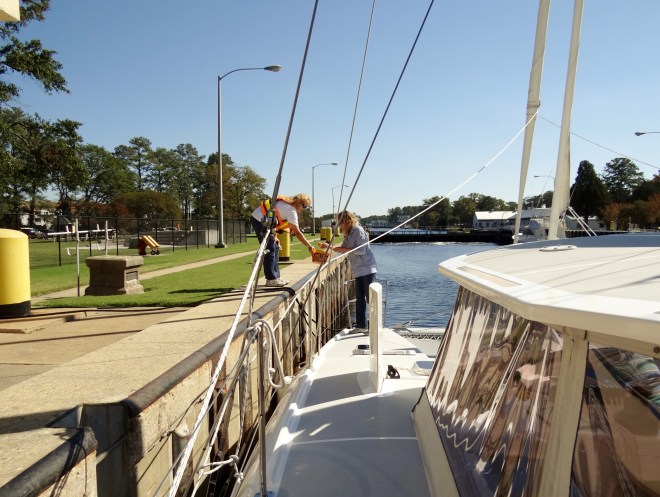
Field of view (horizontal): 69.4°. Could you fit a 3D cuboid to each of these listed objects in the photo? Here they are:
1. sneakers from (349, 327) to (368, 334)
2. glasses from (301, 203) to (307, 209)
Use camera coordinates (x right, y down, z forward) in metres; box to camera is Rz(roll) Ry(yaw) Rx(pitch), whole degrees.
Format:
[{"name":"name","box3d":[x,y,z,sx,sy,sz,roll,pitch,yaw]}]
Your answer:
[{"name":"sneakers","box3d":[0.408,1.152,6.660,0.228,0.092,0.095,4,-17,9]},{"name":"glasses","box3d":[-0.446,-0.725,8.094,0.085,0.041,0.124,-5,-1,11]}]
